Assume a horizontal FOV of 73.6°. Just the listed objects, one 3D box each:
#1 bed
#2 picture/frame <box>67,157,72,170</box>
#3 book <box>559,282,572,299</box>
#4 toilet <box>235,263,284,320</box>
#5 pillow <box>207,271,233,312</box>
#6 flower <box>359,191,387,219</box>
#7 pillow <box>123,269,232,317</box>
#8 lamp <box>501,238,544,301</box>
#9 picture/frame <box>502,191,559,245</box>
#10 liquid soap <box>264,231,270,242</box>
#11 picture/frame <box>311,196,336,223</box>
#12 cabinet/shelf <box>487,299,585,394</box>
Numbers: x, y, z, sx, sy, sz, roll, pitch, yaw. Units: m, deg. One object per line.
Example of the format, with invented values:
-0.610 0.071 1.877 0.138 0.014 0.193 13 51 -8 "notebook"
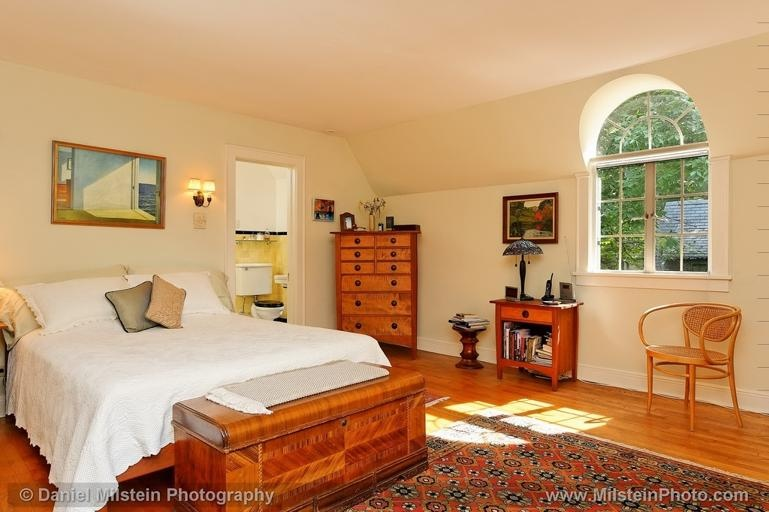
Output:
-2.222 0.921 4.397 2.169 0.909 2.256 1 -2 -41 "bed"
-3.295 -0.958 5.367 0.034 0.115 0.041 -2 14 -9 "picture/frame"
2.117 0.406 5.999 0.140 0.192 0.191 3 13 13 "book"
-1.978 0.632 8.444 0.595 0.884 1.004 -6 15 -41 "toilet"
-1.882 0.385 5.922 0.137 0.421 0.400 -31 -27 1 "pillow"
-0.207 -0.789 7.898 0.359 0.275 0.360 4 7 42 "flower"
-2.063 0.368 5.573 0.672 0.187 0.599 18 2 44 "pillow"
1.695 0.133 6.329 0.451 0.716 0.620 4 14 16 "lamp"
1.839 -0.471 6.402 0.756 0.614 0.055 2 4 43 "picture/frame"
-2.067 -0.339 8.982 0.075 0.184 0.118 3 14 12 "liquid soap"
-0.889 -0.661 7.234 0.059 0.342 0.438 -5 -6 44 "picture/frame"
1.769 0.986 6.092 0.890 0.854 0.566 1 0 44 "cabinet/shelf"
